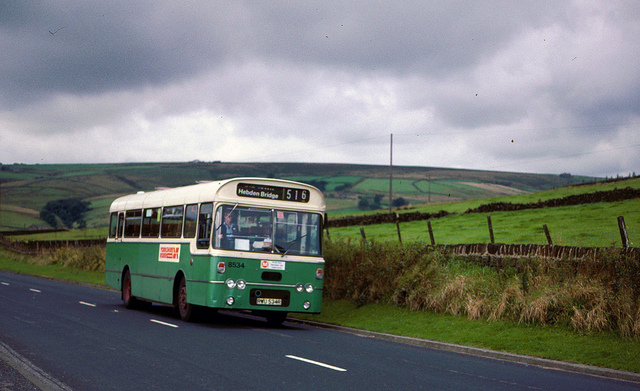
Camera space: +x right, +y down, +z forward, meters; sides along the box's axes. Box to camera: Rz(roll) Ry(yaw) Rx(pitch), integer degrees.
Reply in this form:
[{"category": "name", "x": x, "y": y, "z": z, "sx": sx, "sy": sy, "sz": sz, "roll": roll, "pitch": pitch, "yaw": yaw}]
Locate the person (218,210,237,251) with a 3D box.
[{"category": "person", "x": -3.366, "y": 1.417, "z": 18.843, "sx": 0.697, "sy": 1.768, "sz": 0.482, "roll": -1, "pitch": 32, "yaw": -5}]
